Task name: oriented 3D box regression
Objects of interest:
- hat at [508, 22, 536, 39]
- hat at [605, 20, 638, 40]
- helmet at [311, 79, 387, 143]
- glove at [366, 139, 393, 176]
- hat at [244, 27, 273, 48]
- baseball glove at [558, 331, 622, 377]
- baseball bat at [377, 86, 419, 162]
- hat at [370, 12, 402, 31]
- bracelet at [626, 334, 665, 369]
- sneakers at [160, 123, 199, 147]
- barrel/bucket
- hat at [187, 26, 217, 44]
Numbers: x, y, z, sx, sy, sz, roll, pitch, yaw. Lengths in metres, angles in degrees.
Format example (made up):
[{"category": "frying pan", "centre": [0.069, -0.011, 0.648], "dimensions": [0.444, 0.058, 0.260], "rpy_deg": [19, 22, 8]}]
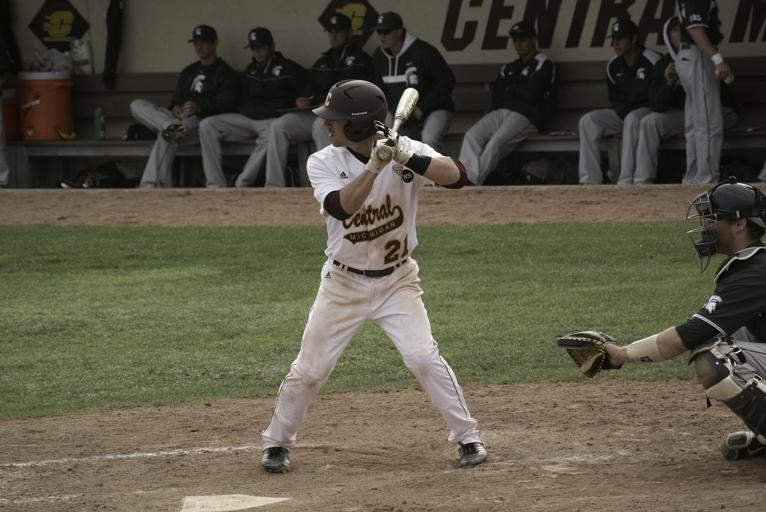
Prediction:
[{"category": "hat", "centre": [1.604, -2.584, 12.112], "dimensions": [0.296, 0.204, 0.192], "rpy_deg": [2, 4, 4]}, {"category": "hat", "centre": [2.682, -2.514, 11.818], "dimensions": [0.379, 0.173, 0.242], "rpy_deg": [-6, 17, -17]}, {"category": "helmet", "centre": [-0.220, -0.993, 7.181], "dimensions": [0.556, 0.338, 0.369], "rpy_deg": [0, 12, -3]}, {"category": "glove", "centre": [-0.023, -0.653, 6.979], "dimensions": [0.167, 0.228, 0.077], "rpy_deg": [2, 5, -1]}, {"category": "hat", "centre": [-1.482, -2.595, 12.574], "dimensions": [0.253, 0.171, 0.325], "rpy_deg": [-1, 13, 10]}, {"category": "baseball glove", "centre": [1.436, 0.664, 7.338], "dimensions": [0.413, 0.263, 0.169], "rpy_deg": [34, 2, 26]}, {"category": "baseball bat", "centre": [0.179, -1.012, 7.514], "dimensions": [0.205, 0.168, 0.882], "rpy_deg": [26, 35, -2]}, {"category": "hat", "centre": [0.042, -2.705, 12.193], "dimensions": [0.335, 0.167, 0.235], "rpy_deg": [-9, 14, -44]}, {"category": "bracelet", "centre": [1.768, 0.630, 7.145], "dimensions": [0.233, 0.148, 0.172], "rpy_deg": [1, -7, 9]}, {"category": "sneakers", "centre": [-2.397, -1.451, 12.392], "dimensions": [0.447, 0.134, 0.177], "rpy_deg": [-3, -5, -3]}, {"category": "barrel/bucket", "centre": [-4.307, -1.891, 13.439], "dimensions": [0.979, 0.812, 0.879], "rpy_deg": [-1, 0, 2]}, {"category": "hat", "centre": [-2.166, -2.679, 12.718], "dimensions": [0.344, 0.168, 0.235], "rpy_deg": [-5, 7, -43]}]
